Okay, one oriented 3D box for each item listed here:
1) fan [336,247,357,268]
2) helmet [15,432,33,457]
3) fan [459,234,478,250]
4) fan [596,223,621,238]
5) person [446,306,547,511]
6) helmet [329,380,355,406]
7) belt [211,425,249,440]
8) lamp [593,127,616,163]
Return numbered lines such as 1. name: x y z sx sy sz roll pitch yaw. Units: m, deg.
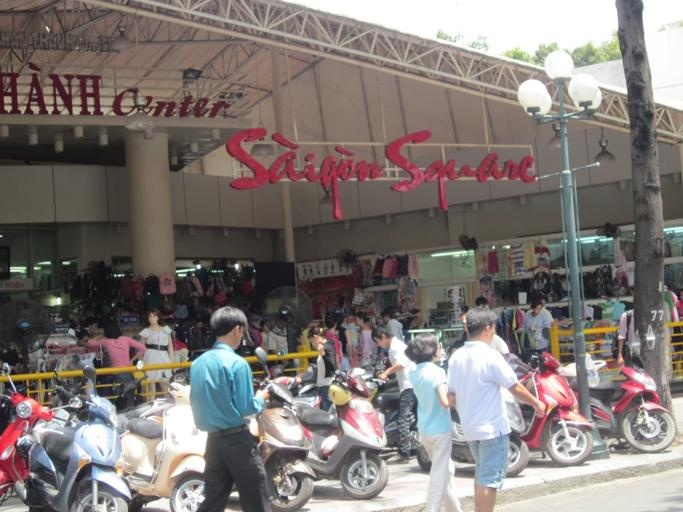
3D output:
1. fan: 0.147 0.063 21.536 0.693 0.567 0.259 -12 -7 39
2. helmet: -2.904 1.723 6.529 0.143 0.208 0.204 -13 -7 -6
3. fan: 3.491 -0.377 19.746 0.302 0.267 0.760 -14 -13 14
4. fan: 6.649 -0.642 17.836 0.297 0.189 0.447 5 -7 -6
5. person: 1.231 1.250 5.895 0.675 1.636 0.369 -7 -5 8
6. helmet: -0.015 1.429 7.381 0.236 0.241 0.179 -6 -5 -7
7. belt: -0.820 1.272 5.176 0.131 0.037 0.141 -15 -6 14
8. lamp: 6.622 -2.817 18.103 0.447 0.693 1.087 -8 -6 21
